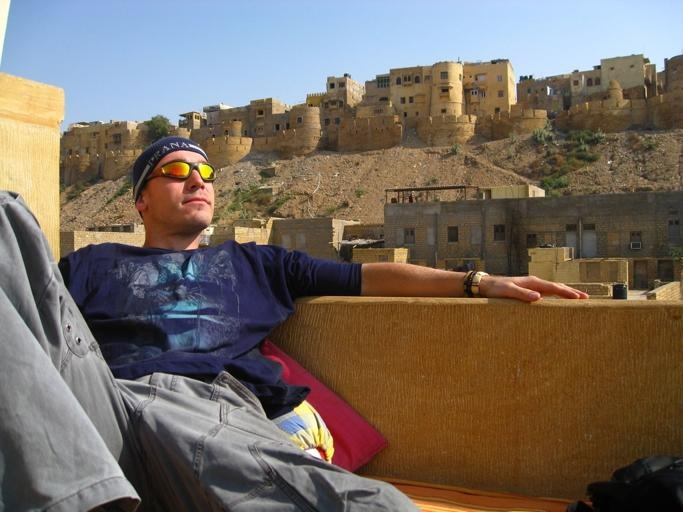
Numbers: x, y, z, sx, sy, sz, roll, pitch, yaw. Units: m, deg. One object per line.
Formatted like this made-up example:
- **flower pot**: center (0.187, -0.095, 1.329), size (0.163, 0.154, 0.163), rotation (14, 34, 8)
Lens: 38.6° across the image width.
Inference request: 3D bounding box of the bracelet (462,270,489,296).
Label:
- **bracelet**: center (0.583, 0.119, 4.170), size (0.070, 0.122, 0.111), rotation (8, -5, -13)

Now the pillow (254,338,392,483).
- **pillow**: center (-0.082, 0.676, 4.154), size (0.407, 0.535, 0.125), rotation (-38, -3, -40)
